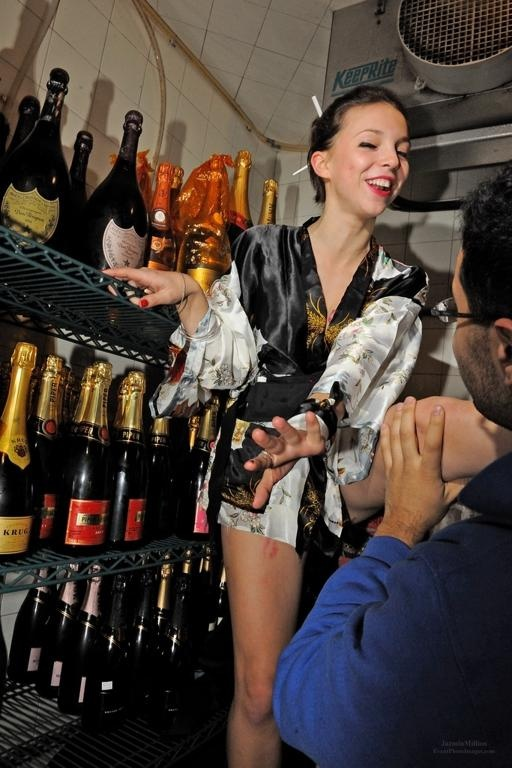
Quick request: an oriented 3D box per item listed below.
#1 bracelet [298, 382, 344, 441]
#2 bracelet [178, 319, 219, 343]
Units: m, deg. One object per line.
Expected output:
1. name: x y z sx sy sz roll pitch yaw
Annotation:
1. bracelet: 0.101 0.032 0.789 0.059 0.040 0.094 28 23 3
2. bracelet: -0.091 -0.085 0.882 0.050 0.023 0.039 -19 -13 10
